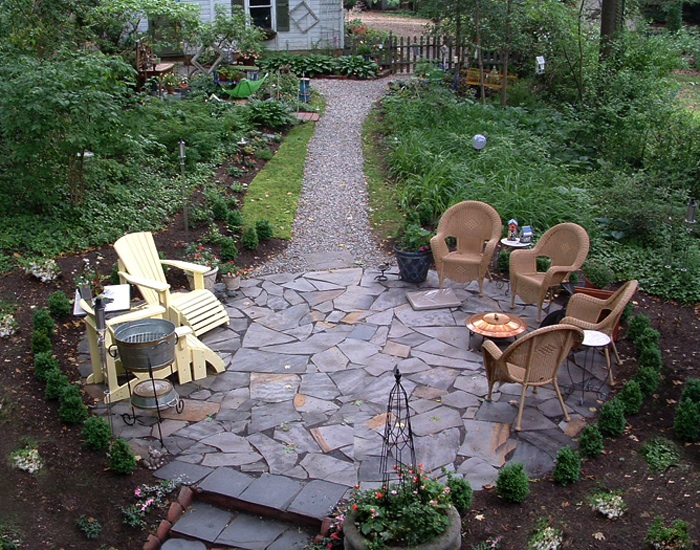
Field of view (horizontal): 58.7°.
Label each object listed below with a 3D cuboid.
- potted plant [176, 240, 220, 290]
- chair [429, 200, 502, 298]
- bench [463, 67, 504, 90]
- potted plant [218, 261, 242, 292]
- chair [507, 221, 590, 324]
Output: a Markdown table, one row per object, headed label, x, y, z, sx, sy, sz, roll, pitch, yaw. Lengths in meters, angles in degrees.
| label | x | y | z | sx | sy | sz | roll | pitch | yaw |
| --- | --- | --- | --- | --- | --- | --- | --- | --- | --- |
| potted plant | -2.342 | -0.153 | 10.036 | 0.779 | 0.806 | 0.841 | -3 | 15 | -27 |
| chair | 1.819 | -0.438 | 9.670 | 1.106 | 1.225 | 0.822 | 5 | 25 | 24 |
| bench | 3.905 | -5.729 | 18.183 | 1.458 | 0.563 | 0.747 | 2 | 47 | 4 |
| potted plant | -1.923 | 0.037 | 9.861 | 0.414 | 0.379 | 0.401 | -1 | 4 | -4 |
| chair | 2.890 | 0.005 | 9.090 | 0.979 | 1.300 | 1.091 | -9 | 31 | -26 |
